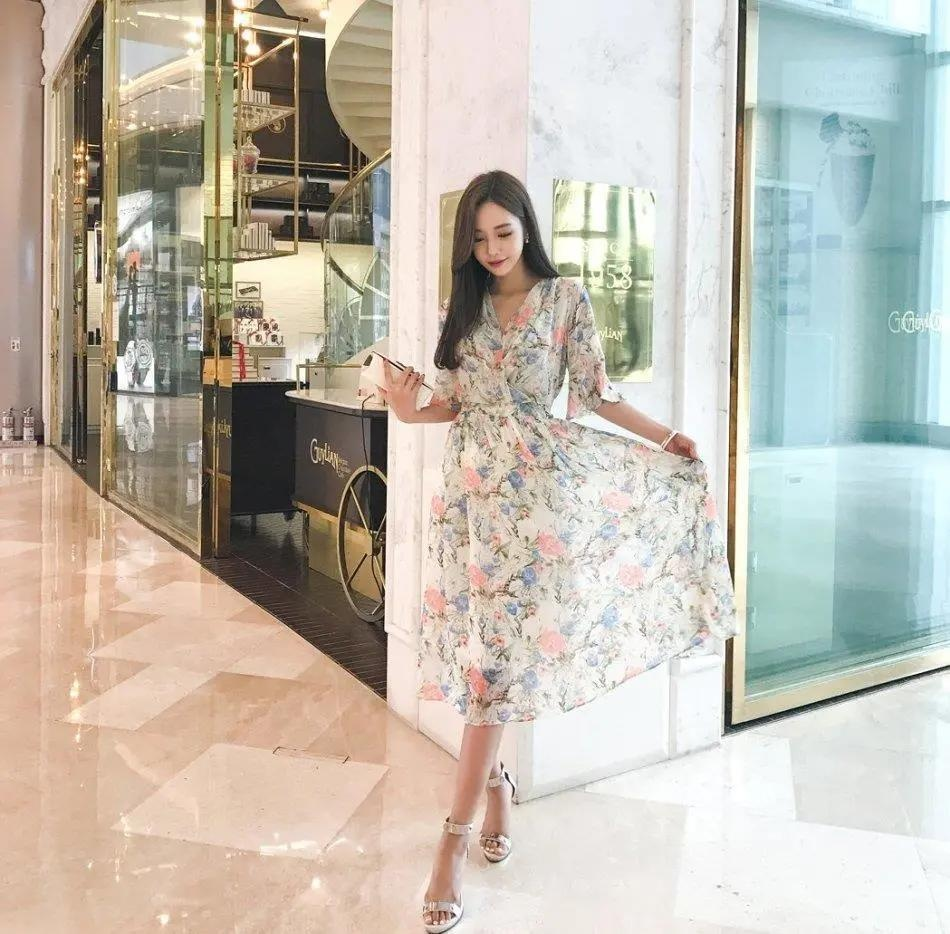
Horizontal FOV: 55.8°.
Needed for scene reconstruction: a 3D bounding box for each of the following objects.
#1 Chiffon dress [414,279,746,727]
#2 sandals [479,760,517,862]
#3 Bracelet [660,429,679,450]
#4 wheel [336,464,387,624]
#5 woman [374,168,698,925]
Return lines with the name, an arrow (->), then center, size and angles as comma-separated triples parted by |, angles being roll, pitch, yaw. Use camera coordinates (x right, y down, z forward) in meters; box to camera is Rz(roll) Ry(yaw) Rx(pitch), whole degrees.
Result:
Chiffon dress -> 0.235, 0.060, 2.157 | 0.595, 1.046, 0.329 | 1, 7, 28
sandals -> 0.059, 0.868, 2.236 | 0.059, 0.099, 0.224 | 0, 15, 5
Bracelet -> 0.477, -0.066, 2.203 | 0.011, 0.046, 0.043 | 27, -5, 5
wheel -> -0.559, 0.413, 4.733 | 0.071, 0.810, 0.704 | -4, -10, 15
woman -> 0.102, 0.136, 2.173 | 0.646, 1.631, 0.385 | -2, 5, -32
